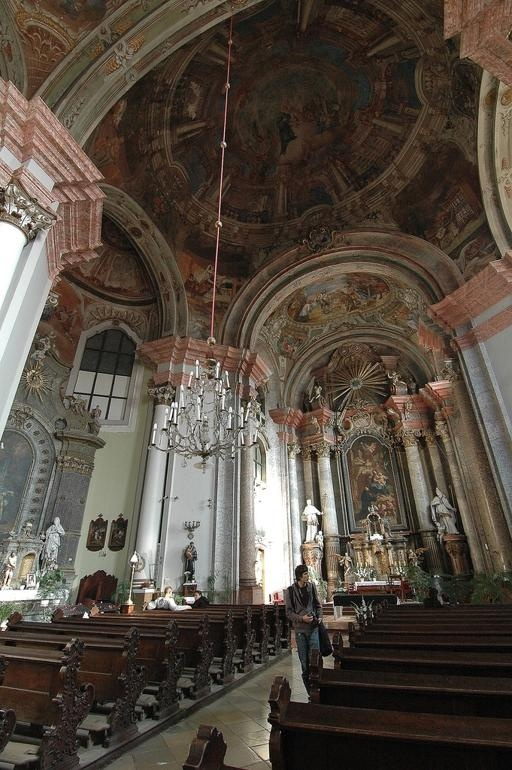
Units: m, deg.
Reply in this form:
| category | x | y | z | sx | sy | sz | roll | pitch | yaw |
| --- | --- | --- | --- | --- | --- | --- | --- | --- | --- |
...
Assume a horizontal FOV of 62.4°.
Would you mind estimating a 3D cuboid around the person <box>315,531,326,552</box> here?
| category | x | y | z | sx | sy | sz | roll | pitch | yaw |
| --- | --- | --- | --- | --- | --- | --- | --- | --- | --- |
| person | 2.246 | 5.403 | 14.844 | 0.259 | 0.686 | 0.923 | -9 | -25 | 9 |

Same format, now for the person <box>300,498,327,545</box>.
| category | x | y | z | sx | sy | sz | roll | pitch | yaw |
| --- | --- | --- | --- | --- | --- | --- | --- | --- | --- |
| person | 1.978 | 4.870 | 15.004 | 0.717 | 1.582 | 0.920 | -10 | -28 | 10 |

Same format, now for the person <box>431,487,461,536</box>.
| category | x | y | z | sx | sy | sz | roll | pitch | yaw |
| --- | --- | --- | --- | --- | --- | --- | --- | --- | --- |
| person | 6.003 | 4.032 | 13.479 | 0.737 | 1.553 | 0.771 | -13 | -30 | 17 |

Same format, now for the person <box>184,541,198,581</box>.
| category | x | y | z | sx | sy | sz | roll | pitch | yaw |
| --- | --- | --- | --- | --- | --- | --- | --- | --- | --- |
| person | -1.388 | 3.709 | 8.982 | 0.284 | 0.790 | 0.233 | 3 | -30 | -12 |

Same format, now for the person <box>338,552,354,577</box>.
| category | x | y | z | sx | sy | sz | roll | pitch | yaw |
| --- | --- | --- | --- | --- | --- | --- | --- | --- | --- |
| person | 3.197 | 6.178 | 14.536 | 0.495 | 0.714 | 0.490 | 1 | -28 | -10 |

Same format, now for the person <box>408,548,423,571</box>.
| category | x | y | z | sx | sy | sz | roll | pitch | yaw |
| --- | --- | --- | --- | --- | --- | --- | --- | --- | --- |
| person | 5.277 | 5.694 | 13.990 | 0.477 | 0.544 | 0.758 | -9 | -25 | 11 |

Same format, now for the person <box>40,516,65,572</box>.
| category | x | y | z | sx | sy | sz | roll | pitch | yaw |
| --- | --- | --- | --- | --- | --- | --- | --- | --- | --- |
| person | -4.379 | 3.418 | 9.120 | 0.243 | 1.134 | 0.416 | -15 | -31 | 18 |

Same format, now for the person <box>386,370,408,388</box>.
| category | x | y | z | sx | sy | sz | roll | pitch | yaw |
| --- | --- | --- | --- | --- | --- | --- | --- | --- | --- |
| person | 5.531 | -0.180 | 16.424 | 0.613 | 0.981 | 0.710 | -7 | -27 | 6 |
